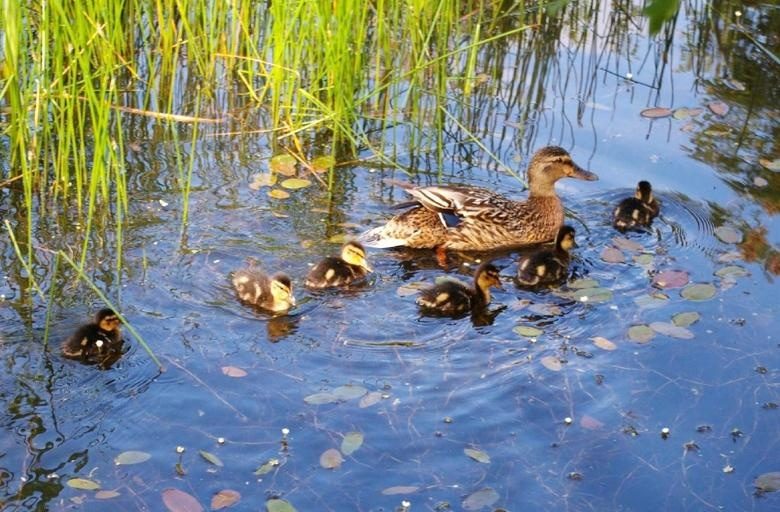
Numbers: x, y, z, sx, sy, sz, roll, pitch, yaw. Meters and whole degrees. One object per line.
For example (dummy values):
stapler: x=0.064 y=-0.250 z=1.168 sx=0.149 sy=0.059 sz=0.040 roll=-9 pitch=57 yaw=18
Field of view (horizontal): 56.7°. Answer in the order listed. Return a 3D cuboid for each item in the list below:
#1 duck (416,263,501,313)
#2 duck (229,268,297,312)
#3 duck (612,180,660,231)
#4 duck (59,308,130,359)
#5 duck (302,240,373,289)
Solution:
duck: x=0.740 y=0.360 z=7.373 sx=0.888 sy=0.447 sz=0.485 roll=-1 pitch=10 yaw=30
duck: x=-1.275 y=0.315 z=7.144 sx=0.574 sy=0.317 sz=0.283 roll=16 pitch=33 yaw=2
duck: x=2.965 y=-0.586 z=8.565 sx=0.431 sy=0.326 sz=0.753 roll=19 pitch=51 yaw=35
duck: x=-2.618 y=0.711 z=6.453 sx=0.587 sy=0.350 sz=0.352 roll=-17 pitch=32 yaw=-34
duck: x=-0.470 y=0.115 z=7.653 sx=0.737 sy=0.429 sz=0.421 roll=-9 pitch=22 yaw=25
